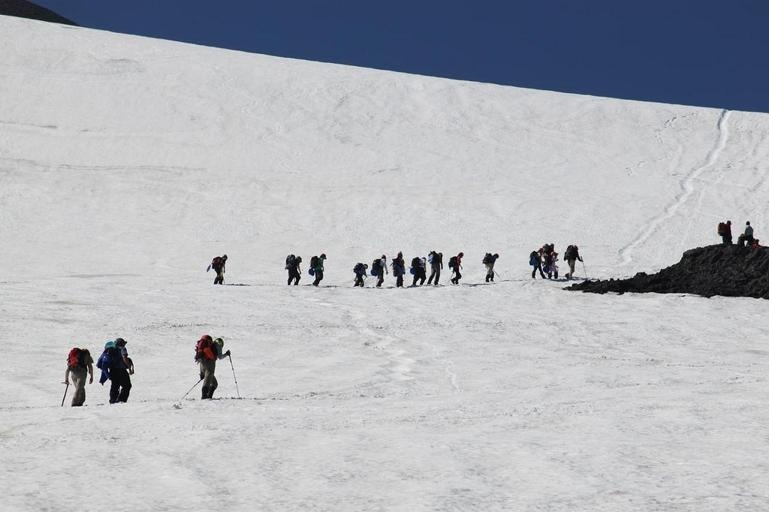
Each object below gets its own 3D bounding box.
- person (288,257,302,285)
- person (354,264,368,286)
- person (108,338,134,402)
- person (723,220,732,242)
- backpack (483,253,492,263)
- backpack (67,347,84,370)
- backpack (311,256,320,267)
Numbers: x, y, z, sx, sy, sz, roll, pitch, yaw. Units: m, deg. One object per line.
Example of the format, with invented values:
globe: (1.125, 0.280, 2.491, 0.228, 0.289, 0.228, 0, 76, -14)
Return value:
person: (-5.621, 0.872, 92.299, 0.718, 1.820, 0.928, 2, -7, -7)
person: (-1.576, 1.122, 92.602, 0.700, 1.536, 1.009, 1, -7, 0)
person: (-13.951, 6.036, 78.678, 1.263, 3.414, 1.219, -5, -9, 44)
person: (20.546, -1.484, 90.258, 0.764, 1.458, 1.403, 0, -7, 13)
backpack: (6.295, 0.105, 92.289, 0.496, 0.686, 0.503, 4, -7, -25)
backpack: (-16.327, 5.329, 78.293, 0.923, 0.953, 0.506, -4, -14, 33)
backpack: (-4.321, 0.332, 92.079, 0.634, 0.756, 0.485, 12, -19, -38)
